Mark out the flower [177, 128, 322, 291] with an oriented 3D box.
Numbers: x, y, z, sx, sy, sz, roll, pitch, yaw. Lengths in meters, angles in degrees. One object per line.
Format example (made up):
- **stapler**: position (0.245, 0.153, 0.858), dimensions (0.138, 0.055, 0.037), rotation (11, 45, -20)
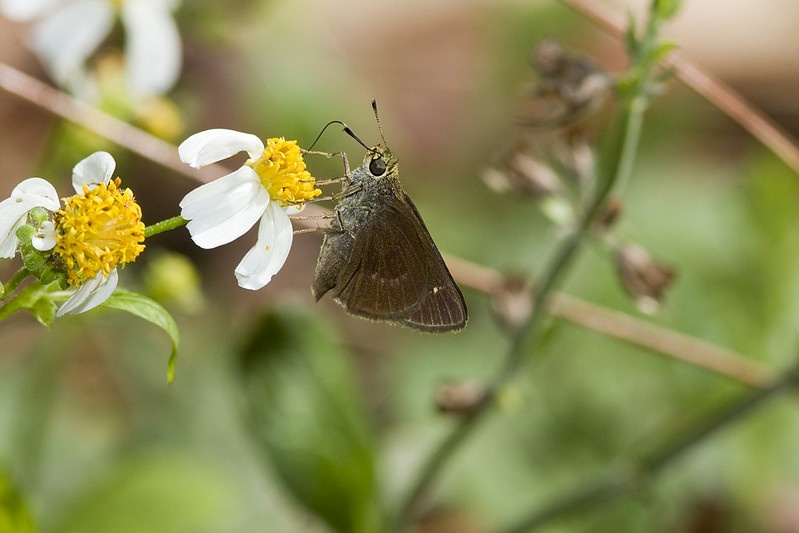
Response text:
- **flower**: position (-0.417, -0.151, 2.040), dimensions (0.209, 0.426, 0.410), rotation (-26, -35, 33)
